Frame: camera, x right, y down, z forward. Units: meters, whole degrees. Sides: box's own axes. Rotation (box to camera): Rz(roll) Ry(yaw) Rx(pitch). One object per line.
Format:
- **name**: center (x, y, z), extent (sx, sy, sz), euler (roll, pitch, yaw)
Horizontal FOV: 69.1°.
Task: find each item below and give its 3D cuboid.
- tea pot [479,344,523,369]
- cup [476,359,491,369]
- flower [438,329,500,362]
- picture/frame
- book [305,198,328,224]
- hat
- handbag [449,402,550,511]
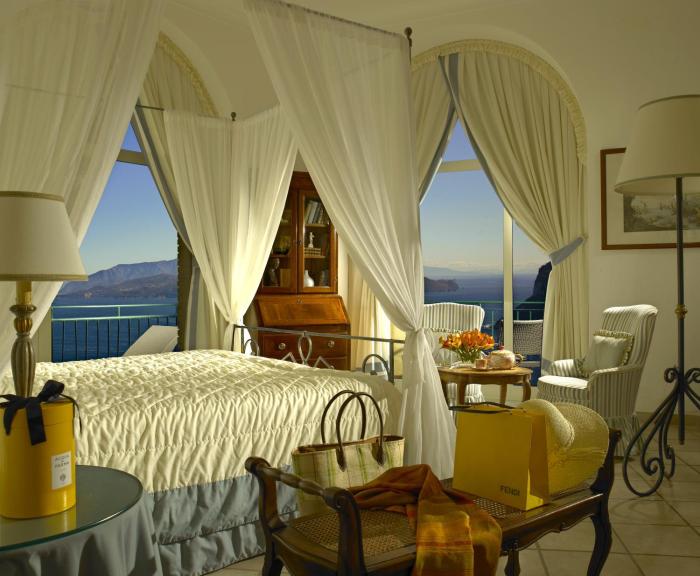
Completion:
- **tea pot**: center (1.194, 0.576, 4.056), extent (0.370, 0.234, 0.267), euler (0, -1, 26)
- **cup**: center (1.049, 0.598, 3.993), extent (0.095, 0.075, 0.076), euler (-1, -3, 23)
- **flower**: center (0.953, 0.455, 4.134), extent (0.304, 0.233, 0.319), euler (-1, 0, -14)
- **picture/frame**: center (2.328, -0.667, 3.899), extent (0.927, 0.991, 0.037), euler (0, -1, 21)
- **book**: center (-0.376, -0.801, 5.630), extent (0.209, 0.332, 0.321), euler (0, 5, -3)
- **hat**: center (0.675, 0.479, 1.607), extent (0.255, 0.135, 0.354), euler (-18, 28, 16)
- **handbag**: center (0.454, 0.510, 1.512), extent (0.106, 0.270, 0.261), euler (0, 0, -39)
